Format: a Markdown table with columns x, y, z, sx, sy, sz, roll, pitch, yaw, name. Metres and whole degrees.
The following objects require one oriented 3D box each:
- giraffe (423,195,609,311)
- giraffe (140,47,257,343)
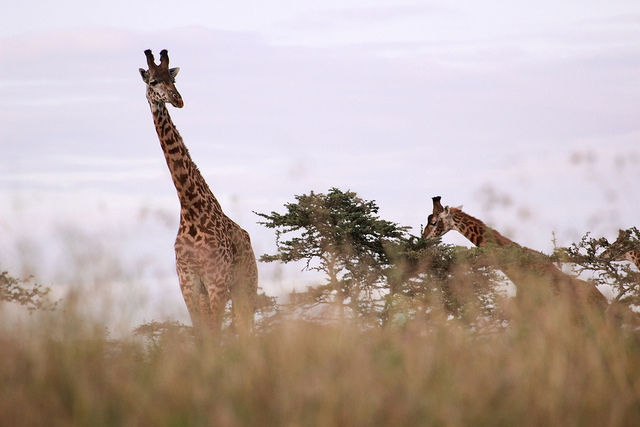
| x | y | z | sx | sy | sz | roll | pitch | yaw | name |
| --- | --- | --- | --- | --- | --- | --- | --- | --- | --- |
| 4.607 | 0.839 | 24.409 | 2.475 | 2.291 | 6.430 | -3 | 4 | -14 | giraffe |
| -2.184 | -0.419 | 18.472 | 1.443 | 5.393 | 2.008 | 1 | 5 | 40 | giraffe |
